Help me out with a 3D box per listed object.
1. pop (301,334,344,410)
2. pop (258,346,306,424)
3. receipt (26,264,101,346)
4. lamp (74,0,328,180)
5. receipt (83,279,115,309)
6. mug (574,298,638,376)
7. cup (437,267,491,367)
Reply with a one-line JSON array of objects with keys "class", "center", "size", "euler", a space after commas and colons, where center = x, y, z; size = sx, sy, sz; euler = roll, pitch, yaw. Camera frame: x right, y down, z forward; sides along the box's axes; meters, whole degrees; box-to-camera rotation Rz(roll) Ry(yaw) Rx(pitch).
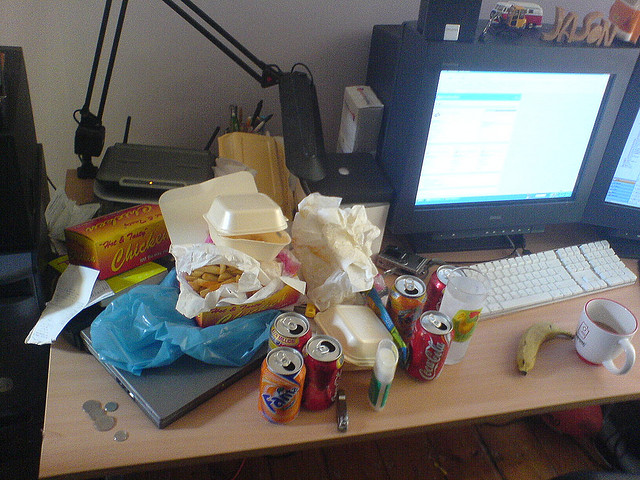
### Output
[{"class": "pop", "center": [-0.007, 0.248, 0.953], "size": [0.066, 0.129, 0.069], "euler": [13, 30, 25]}, {"class": "pop", "center": [-0.072, 0.261, 0.931], "size": [0.073, 0.133, 0.077], "euler": [8, 34, -4]}, {"class": "receipt", "center": [-0.508, 0.129, 1.049], "size": [0.088, 0.039, 0.163], "euler": [3, 44, 23]}, {"class": "lamp", "center": [-0.322, -0.404, 1.334], "size": [0.569, 0.495, 0.184], "euler": [3, 43, -9]}, {"class": "receipt", "center": [-0.461, 0.108, 1.055], "size": [0.047, 0.012, 0.047], "euler": [27, 45, 19]}, {"class": "mug", "center": [0.583, 0.212, 1.123], "size": [0.104, 0.119, 0.173], "euler": [3, 36, 1]}, {"class": "cup", "center": [0.313, 0.132, 1.120], "size": [0.095, 0.171, 0.260], "euler": [13, 29, 18]}]
